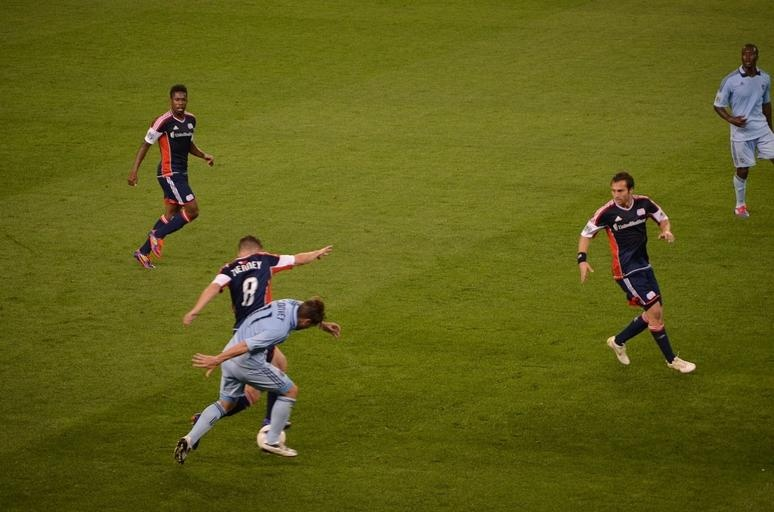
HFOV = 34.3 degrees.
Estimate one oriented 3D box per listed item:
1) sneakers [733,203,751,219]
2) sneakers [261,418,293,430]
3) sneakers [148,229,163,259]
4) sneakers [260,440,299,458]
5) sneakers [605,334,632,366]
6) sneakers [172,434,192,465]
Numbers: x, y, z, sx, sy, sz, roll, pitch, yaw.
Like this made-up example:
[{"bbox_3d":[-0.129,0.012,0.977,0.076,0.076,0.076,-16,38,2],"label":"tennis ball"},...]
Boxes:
[{"bbox_3d":[6.254,-0.803,22.137,0.345,0.219,0.194,-1,13,10],"label":"sneakers"},{"bbox_3d":[-1.596,2.371,17.548,0.561,0.184,0.125,-1,55,-4],"label":"sneakers"},{"bbox_3d":[-3.803,-0.203,20.690,0.308,0.435,0.193,-13,0,1],"label":"sneakers"},{"bbox_3d":[-1.473,2.648,17.270,0.615,0.186,0.183,10,14,-11],"label":"sneakers"},{"bbox_3d":[3.488,1.413,18.797,0.265,0.564,0.217,-35,16,29],"label":"sneakers"},{"bbox_3d":[-2.754,2.625,16.996,0.219,0.391,0.224,16,5,6],"label":"sneakers"}]
